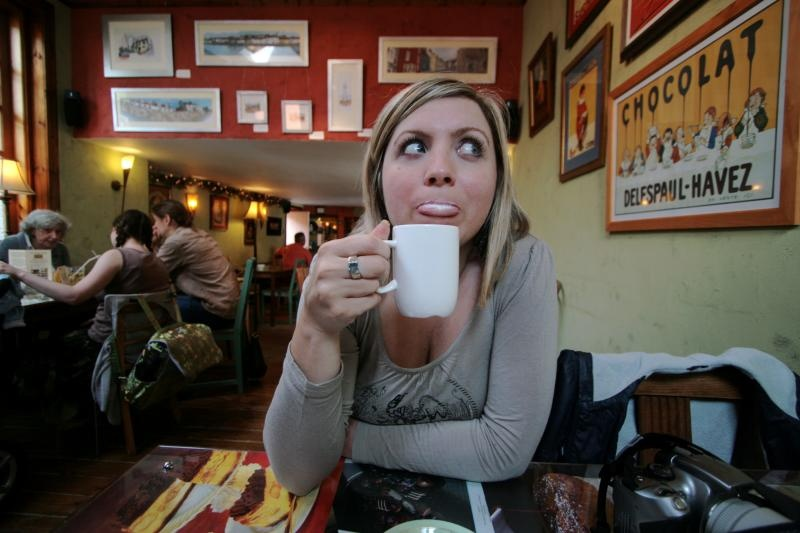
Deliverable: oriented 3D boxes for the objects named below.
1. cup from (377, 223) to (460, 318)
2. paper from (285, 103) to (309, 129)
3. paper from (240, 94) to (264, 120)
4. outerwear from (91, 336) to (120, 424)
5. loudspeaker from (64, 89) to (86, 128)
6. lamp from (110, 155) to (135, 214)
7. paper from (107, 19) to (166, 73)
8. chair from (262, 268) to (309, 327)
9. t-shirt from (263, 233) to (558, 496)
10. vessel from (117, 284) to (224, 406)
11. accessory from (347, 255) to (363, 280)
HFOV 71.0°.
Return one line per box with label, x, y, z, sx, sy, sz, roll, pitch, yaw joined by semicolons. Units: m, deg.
cup;0.032;0.019;2.359;0.443;0.408;0.283;-6;13;-19
paper;-0.919;-1.364;5.067;0.207;0.218;0.014;2;12;-2
paper;-1.331;-1.453;5.074;0.188;0.198;0.014;-9;12;-6
outerwear;-1.861;0.699;3.595;0.154;0.538;0.177;25;33;11
loudspeaker;-3.004;-1.423;5.118;0.140;0.277;0.184;4;11;23
lamp;-2.902;-0.878;5.912;0.146;0.589;0.255;2;5;-4
paper;-2.353;-2.004;5.060;0.413;0.372;0.032;8;7;8
chair;-1.493;0.316;7.141;0.554;0.810;0.549;6;-11;-24
t-shirt;0.085;0.435;2.375;0.917;0.943;0.287;6;-7;7
vessel;-1.555;0.531;3.770;0.356;0.681;0.703;-13;12;9
accessory;-0.184;0.012;2.197;0.075;0.079;0.059;-6;10;-8
